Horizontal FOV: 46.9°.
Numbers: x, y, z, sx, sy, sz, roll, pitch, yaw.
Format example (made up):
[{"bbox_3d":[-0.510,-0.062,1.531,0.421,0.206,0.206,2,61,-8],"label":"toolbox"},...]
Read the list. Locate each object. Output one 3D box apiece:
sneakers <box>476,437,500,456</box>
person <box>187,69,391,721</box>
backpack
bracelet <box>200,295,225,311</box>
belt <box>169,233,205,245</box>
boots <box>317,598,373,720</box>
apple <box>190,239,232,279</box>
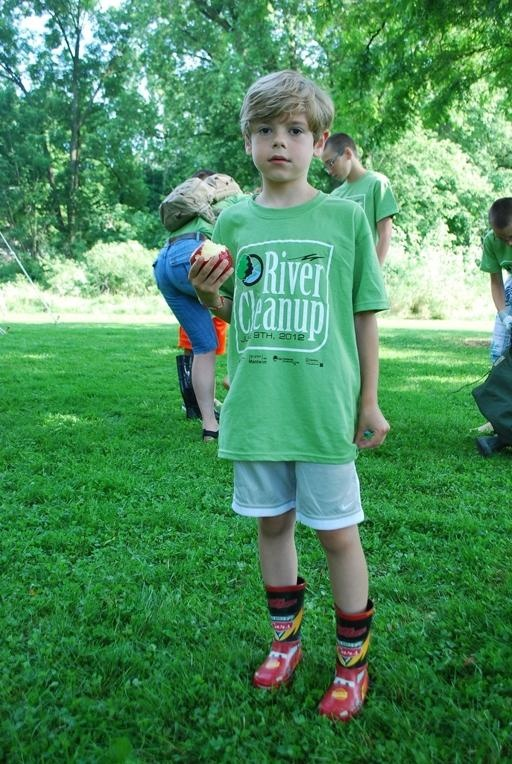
[{"bbox_3d":[1.603,0.415,3.862,0.153,0.080,0.159,-2,17,11],"label":"sneakers"},{"bbox_3d":[0.099,-0.002,1.612,0.515,1.655,0.439,3,11,34],"label":"person"},{"bbox_3d":[-0.469,-1.296,4.260,0.573,0.280,0.446,-31,-9,23],"label":"backpack"},{"bbox_3d":[-0.106,-0.221,1.659,0.039,0.019,0.048,-27,-16,24],"label":"bracelet"},{"bbox_3d":[-0.462,-1.024,4.170,0.145,0.037,0.144,-2,4,9],"label":"belt"},{"bbox_3d":[0.252,0.724,1.530,0.103,0.232,0.252,1,-2,26],"label":"boots"},{"bbox_3d":[-0.106,-0.334,1.561,0.087,0.054,0.100,4,39,3],"label":"apple"}]
